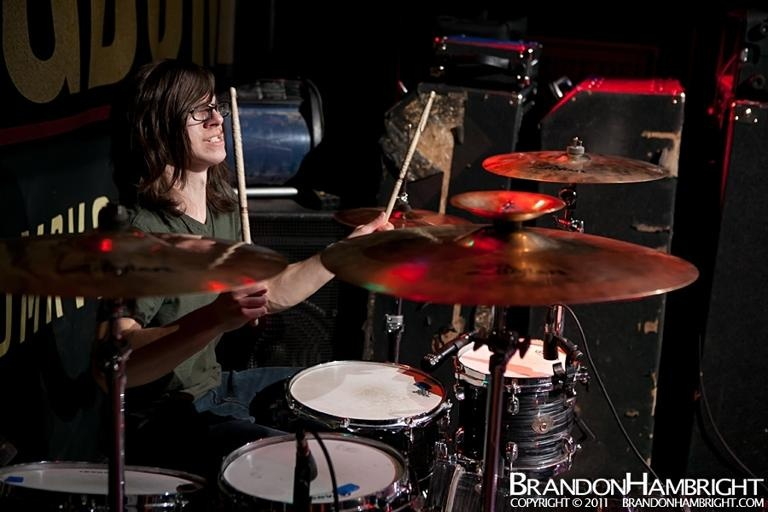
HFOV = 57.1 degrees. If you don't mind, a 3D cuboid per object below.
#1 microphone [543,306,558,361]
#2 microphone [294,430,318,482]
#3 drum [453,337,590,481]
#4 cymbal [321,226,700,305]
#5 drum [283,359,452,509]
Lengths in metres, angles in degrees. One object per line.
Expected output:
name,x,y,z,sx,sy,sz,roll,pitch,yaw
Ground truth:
microphone,0.735,0.348,3.086,0.058,0.238,0.319,0,11,14
microphone,-0.281,0.707,2.528,0.069,0.210,0.174,-3,11,0
drum,0.660,0.725,3.403,0.814,0.486,0.735,1,6,5
cymbal,0.342,0.037,2.252,0.598,0.118,0.564,7,11,20
drum,-0.097,0.749,3.054,0.601,0.316,0.537,13,12,27
